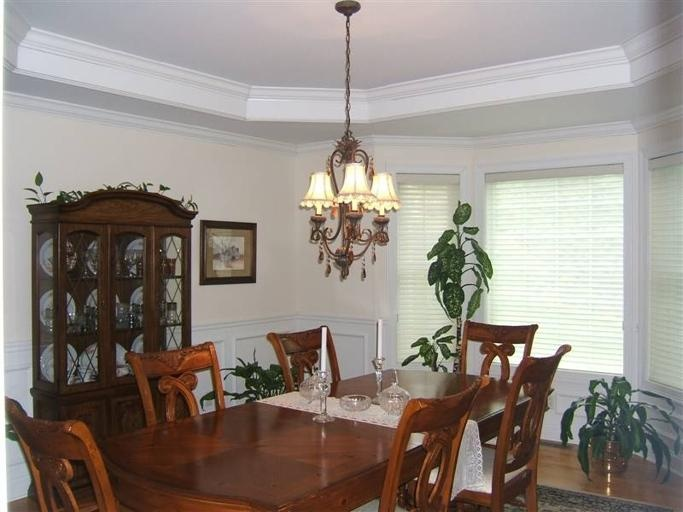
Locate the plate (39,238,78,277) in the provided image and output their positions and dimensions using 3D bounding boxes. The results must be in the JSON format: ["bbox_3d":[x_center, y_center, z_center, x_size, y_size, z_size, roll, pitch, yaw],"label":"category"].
[{"bbox_3d":[-1.966,0.009,3.578,0.281,0.259,0.085,2,5,15],"label":"plate"}]

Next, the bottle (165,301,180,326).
[{"bbox_3d":[-1.342,0.455,4.119,0.134,0.205,0.141,-1,0,0],"label":"bottle"}]

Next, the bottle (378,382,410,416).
[{"bbox_3d":[0.278,0.717,2.636,0.131,0.136,0.137,-4,-3,31],"label":"bottle"}]

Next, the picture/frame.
[{"bbox_3d":[-1.164,-0.028,5.186,0.049,0.697,0.646,-1,-1,43],"label":"picture/frame"}]

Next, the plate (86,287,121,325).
[{"bbox_3d":[-1.699,0.364,3.700,0.039,0.224,0.207,4,1,27],"label":"plate"}]
